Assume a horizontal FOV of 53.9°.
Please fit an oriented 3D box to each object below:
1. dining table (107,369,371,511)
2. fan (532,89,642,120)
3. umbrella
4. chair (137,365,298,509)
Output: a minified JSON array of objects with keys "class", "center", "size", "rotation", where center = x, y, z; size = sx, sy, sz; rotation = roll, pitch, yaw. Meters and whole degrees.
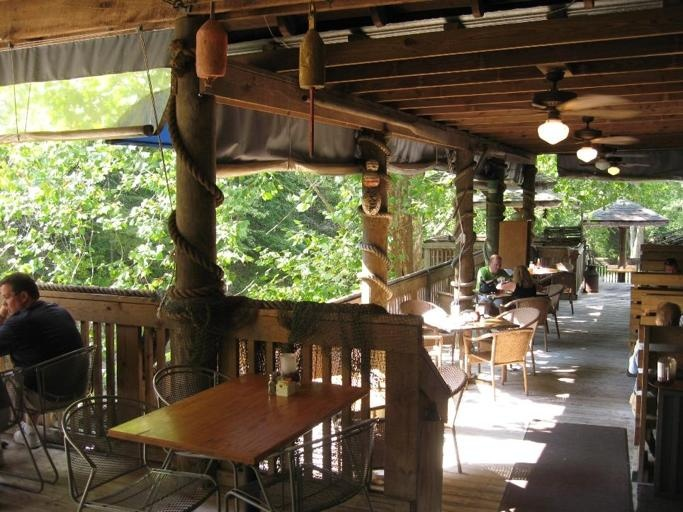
[{"class":"dining table","center":[-0.703,1.075,4.420],"size":[0.758,0.249,1.103],"rotation":[4,10,26]},{"class":"fan","center":[2.514,-1.557,6.877],"size":[0.652,0.140,0.641],"rotation":[-3,1,-23]},{"class":"umbrella","center":[-1.944,-1.310,6.530],"size":[0.612,0.495,2.549],"rotation":[0,8,-18]},{"class":"chair","center":[-0.698,1.412,4.622],"size":[0.927,0.855,0.959],"rotation":[9,20,26]}]
